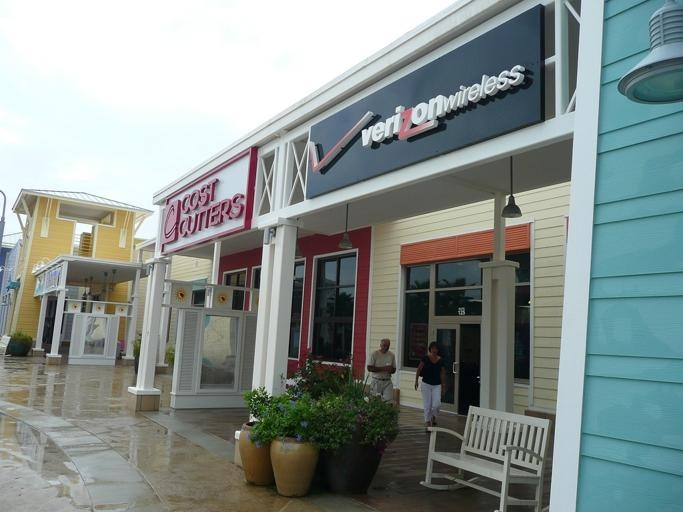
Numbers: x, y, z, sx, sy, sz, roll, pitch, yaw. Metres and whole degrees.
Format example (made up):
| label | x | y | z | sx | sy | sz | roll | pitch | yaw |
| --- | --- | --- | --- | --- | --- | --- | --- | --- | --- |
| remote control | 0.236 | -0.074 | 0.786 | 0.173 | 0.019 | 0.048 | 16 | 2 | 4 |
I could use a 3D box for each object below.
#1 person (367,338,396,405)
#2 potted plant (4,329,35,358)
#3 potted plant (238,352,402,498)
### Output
| label | x | y | z | sx | sy | sz | roll | pitch | yaw |
| --- | --- | --- | --- | --- | --- | --- | --- | --- | --- |
| person | 0.829 | 2.529 | 9.654 | 0.561 | 1.560 | 0.476 | 2 | -2 | -3 |
| potted plant | -18.026 | 4.901 | 26.138 | 1.243 | 1.303 | 1.181 | -6 | -10 | 30 |
| potted plant | -0.404 | 2.363 | 6.801 | 1.882 | 1.499 | 2.537 | 5 | -11 | -9 |
